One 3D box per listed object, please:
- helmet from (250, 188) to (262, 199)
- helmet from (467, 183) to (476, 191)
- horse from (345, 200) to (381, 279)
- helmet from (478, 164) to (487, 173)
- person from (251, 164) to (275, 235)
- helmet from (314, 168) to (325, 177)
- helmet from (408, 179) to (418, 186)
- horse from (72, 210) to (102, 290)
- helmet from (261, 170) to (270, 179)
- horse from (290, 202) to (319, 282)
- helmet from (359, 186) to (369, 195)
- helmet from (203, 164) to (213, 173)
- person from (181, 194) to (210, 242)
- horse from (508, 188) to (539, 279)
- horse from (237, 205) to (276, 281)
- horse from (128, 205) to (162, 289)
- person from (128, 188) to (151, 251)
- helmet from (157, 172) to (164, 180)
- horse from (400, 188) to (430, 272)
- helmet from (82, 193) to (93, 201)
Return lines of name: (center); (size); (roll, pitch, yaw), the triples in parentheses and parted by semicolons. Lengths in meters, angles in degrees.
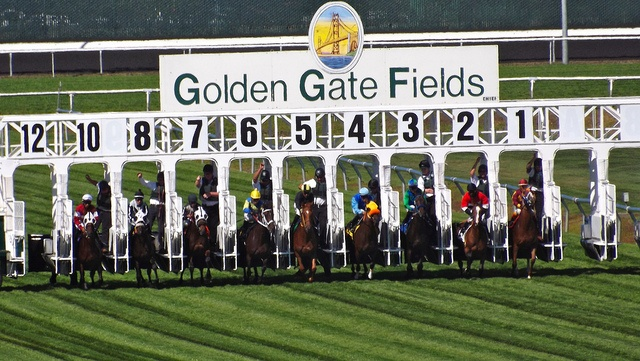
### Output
helmet: (-1.804, 0.383, 40.906); (0.209, 0.177, 0.268); (7, 11, -12)
helmet: (4.345, 0.194, 41.024); (0.229, 0.191, 0.294); (4, 7, 44)
horse: (1.282, 1.702, 41.020); (0.796, 2.241, 1.047); (-3, 6, -19)
helmet: (4.716, -0.327, 41.500); (0.266, 0.235, 0.195); (-6, 7, -42)
person: (-1.573, 0.505, 41.263); (0.845, 1.809, 0.501); (-5, 7, -39)
helmet: (0.031, -0.209, 41.334); (0.247, 0.249, 0.258); (-2, 5, -7)
helmet: (2.686, 0.076, 41.111); (0.249, 0.188, 0.322); (-1, 5, 4)
horse: (-6.440, 1.934, 40.505); (0.646, 2.145, 0.554); (-2, 5, -6)
helmet: (-1.550, -0.160, 41.172); (0.269, 0.235, 0.352); (-1, 5, -2)
horse: (-0.384, 1.736, 40.720); (0.690, 2.289, 0.483); (-2, 5, -2)
helmet: (1.288, 0.322, 41.059); (0.275, 0.205, 0.354); (-1, 5, 0)
helmet: (-3.219, -0.339, 41.904); (0.293, 0.211, 0.414); (0, -1, -2)
person: (-3.514, 1.029, 40.835); (0.788, 1.273, 0.587); (-1, 5, 7)
horse: (5.849, 1.536, 41.153); (0.843, 2.488, 0.646); (2, 6, 32)
horse: (-1.654, 1.840, 40.804); (0.831, 2.108, 1.272); (-5, 7, -38)
horse: (-4.960, 1.844, 40.795); (0.776, 2.247, 0.996); (-2, 5, -8)
person: (-5.172, 1.039, 41.291); (0.707, 1.516, 2.182); (0, 20, -9)
helmet: (-4.528, -0.125, 41.276); (0.142, 0.221, 0.293); (-4, 6, -25)
horse: (2.809, 1.593, 41.074); (0.829, 2.286, 0.741); (-1, 5, 4)
helmet: (-6.595, 0.484, 40.757); (0.307, 0.230, 0.232); (7, 6, 14)
